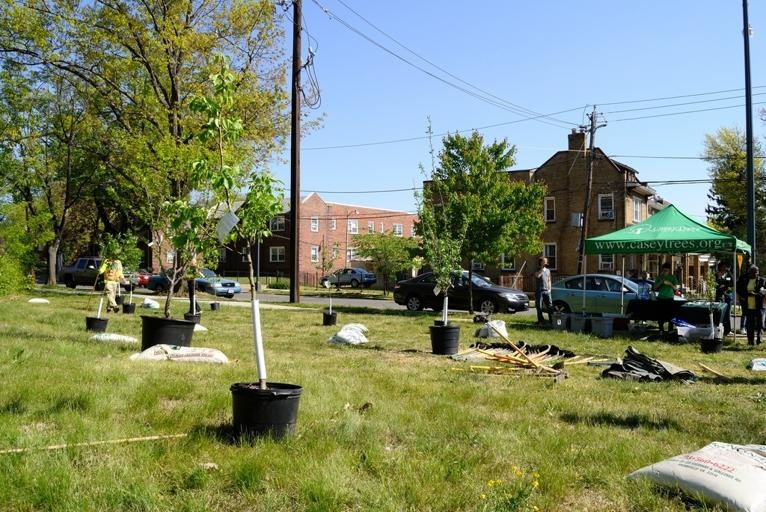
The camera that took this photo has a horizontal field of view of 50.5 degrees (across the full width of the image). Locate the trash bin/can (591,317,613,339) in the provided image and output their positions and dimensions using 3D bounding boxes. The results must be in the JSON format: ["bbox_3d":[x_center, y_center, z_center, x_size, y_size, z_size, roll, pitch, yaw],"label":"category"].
[{"bbox_3d":[6.268,2.077,23.502,0.472,0.729,0.723,4,-6,-30],"label":"trash bin/can"}]

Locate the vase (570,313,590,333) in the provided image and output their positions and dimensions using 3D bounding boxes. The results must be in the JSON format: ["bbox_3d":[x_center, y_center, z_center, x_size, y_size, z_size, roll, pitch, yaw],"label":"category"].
[{"bbox_3d":[5.710,1.974,23.705,0.380,0.375,0.544,-2,-6,35],"label":"vase"}]
